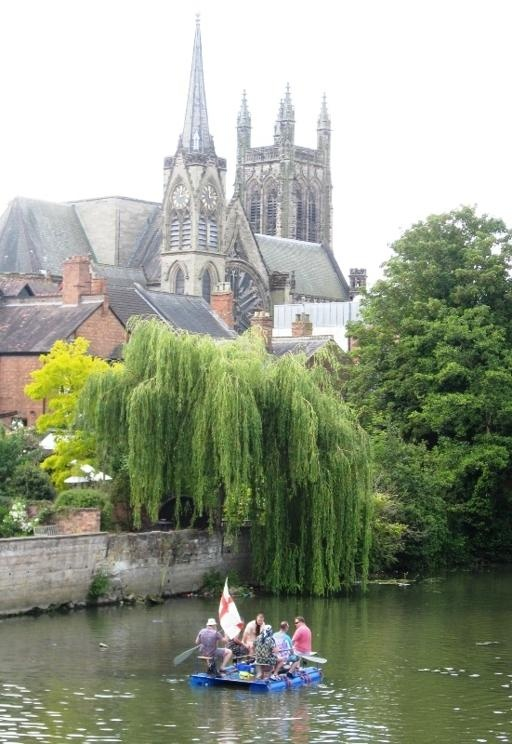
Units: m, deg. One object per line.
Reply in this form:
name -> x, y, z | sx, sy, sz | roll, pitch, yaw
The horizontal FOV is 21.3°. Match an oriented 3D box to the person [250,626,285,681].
person -> 0.208, 4.547, 22.033 | 0.459, 0.850, 0.708 | -1, -9, 6

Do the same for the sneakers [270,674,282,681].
sneakers -> 0.349, 4.915, 21.808 | 0.173, 0.108, 0.328 | 0, -11, -1

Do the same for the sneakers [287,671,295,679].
sneakers -> 0.608, 4.951, 22.165 | 0.086, 0.132, 0.066 | 4, -8, -32

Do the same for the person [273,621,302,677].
person -> 0.580, 4.542, 22.420 | 0.430, 0.912, 0.325 | 1, 11, -13
